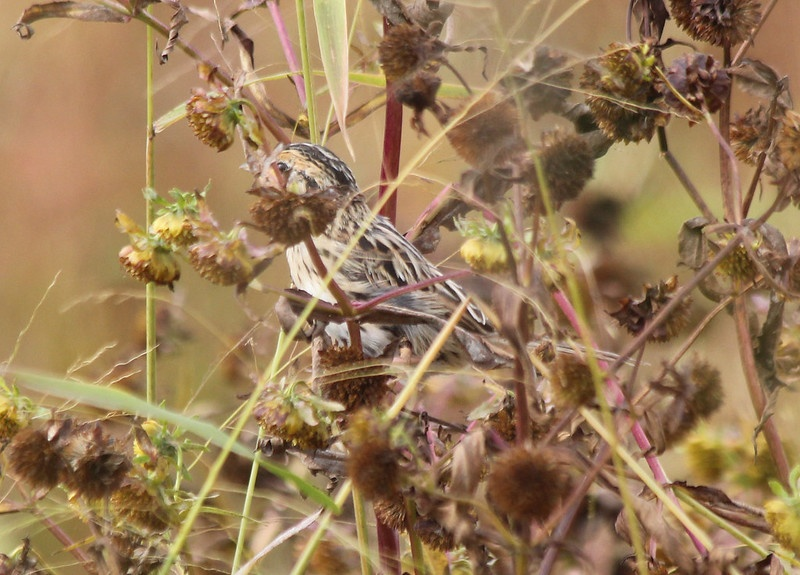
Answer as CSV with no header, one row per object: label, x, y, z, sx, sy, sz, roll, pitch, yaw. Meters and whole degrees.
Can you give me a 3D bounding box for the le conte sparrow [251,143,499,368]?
le conte sparrow,-0.039,-0.045,2.198,0.571,0.432,0.234,1,5,-22
